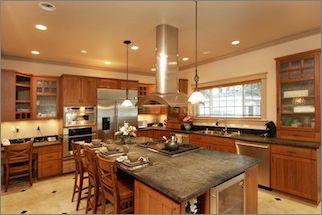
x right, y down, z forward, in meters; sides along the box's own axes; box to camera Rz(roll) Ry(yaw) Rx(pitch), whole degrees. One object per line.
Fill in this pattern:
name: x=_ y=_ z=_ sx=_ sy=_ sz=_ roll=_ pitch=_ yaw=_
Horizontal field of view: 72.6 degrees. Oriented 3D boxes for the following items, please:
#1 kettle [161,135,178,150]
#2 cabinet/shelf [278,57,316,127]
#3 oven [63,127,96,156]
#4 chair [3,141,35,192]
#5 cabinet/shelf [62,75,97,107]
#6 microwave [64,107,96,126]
kettle: x=0.213 y=0.749 z=4.772 sx=0.303 sy=0.271 sz=0.505 roll=0 pitch=13 yaw=2
cabinet/shelf: x=3.171 y=-0.347 z=5.114 sx=0.879 sy=1.629 sz=0.488 roll=7 pitch=18 yaw=26
oven: x=-2.272 y=1.051 z=6.545 sx=1.105 sy=0.833 sz=0.739 roll=-9 pitch=-16 yaw=14
chair: x=-3.592 y=1.472 z=5.542 sx=0.774 sy=1.159 sz=0.511 roll=-10 pitch=18 yaw=-29
cabinet/shelf: x=-2.432 y=-0.471 z=6.463 sx=1.056 sy=0.849 sz=0.403 roll=6 pitch=-9 yaw=-38
microwave: x=-2.371 y=0.251 z=6.437 sx=0.920 sy=0.604 sz=0.280 roll=-6 pitch=16 yaw=-21
